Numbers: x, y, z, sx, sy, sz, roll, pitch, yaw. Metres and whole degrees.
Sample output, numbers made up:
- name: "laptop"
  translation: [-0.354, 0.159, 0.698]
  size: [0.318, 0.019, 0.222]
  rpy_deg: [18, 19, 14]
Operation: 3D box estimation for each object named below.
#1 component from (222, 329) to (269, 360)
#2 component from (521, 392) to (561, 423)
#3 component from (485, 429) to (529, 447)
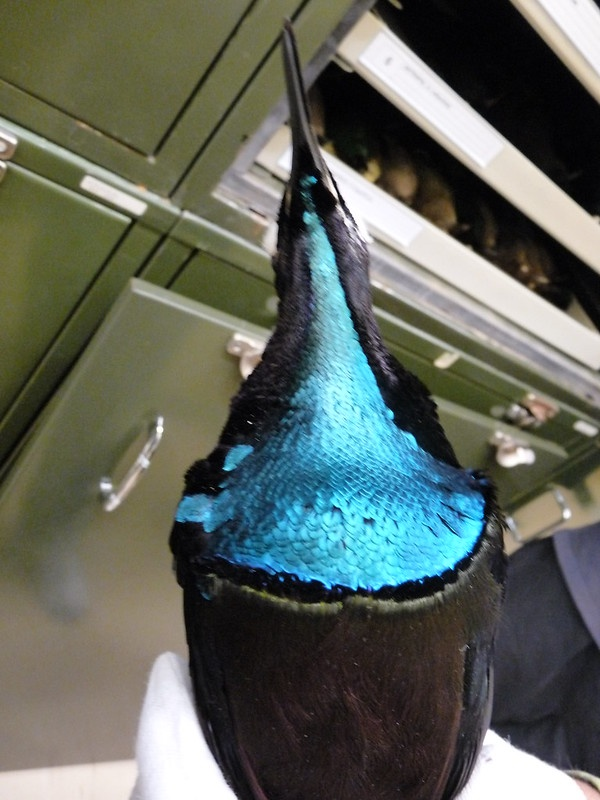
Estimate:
- name: "component"
  translation: [-0.051, -0.051, 0.674]
  size: [0.051, 0.021, 0.026]
  rpy_deg: [6, 91, 4]
- name: "component"
  translation: [0.369, 0.013, 1.119]
  size: [0.050, 0.017, 0.049]
  rpy_deg: [37, 79, 3]
- name: "component"
  translation: [0.254, 0.051, 0.888]
  size: [0.032, 0.009, 0.030]
  rpy_deg: [7, 44, -23]
